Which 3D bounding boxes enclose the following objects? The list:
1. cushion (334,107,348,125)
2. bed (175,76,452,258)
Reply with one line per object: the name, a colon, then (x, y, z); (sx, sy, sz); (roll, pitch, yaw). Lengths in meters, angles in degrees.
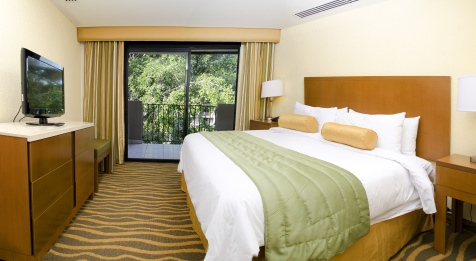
cushion: (1.847, -0.245, 5.213); (0.099, 0.307, 0.309); (8, -3, -23)
bed: (1.231, 0.397, 4.481); (3.855, 2.447, 2.003); (-3, 10, -20)
